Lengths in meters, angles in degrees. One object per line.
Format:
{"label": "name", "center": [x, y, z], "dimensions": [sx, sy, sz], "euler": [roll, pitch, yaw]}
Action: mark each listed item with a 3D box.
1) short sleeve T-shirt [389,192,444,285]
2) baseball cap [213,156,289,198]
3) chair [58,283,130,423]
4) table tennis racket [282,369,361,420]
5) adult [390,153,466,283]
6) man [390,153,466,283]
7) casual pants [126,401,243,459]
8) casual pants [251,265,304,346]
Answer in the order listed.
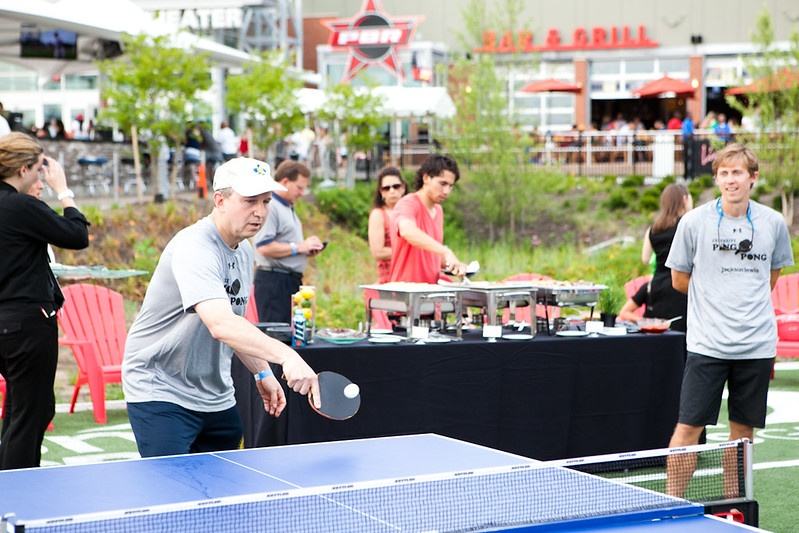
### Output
{"label": "short sleeve T-shirt", "center": [0.165, -0.247, 10.743], "dimensions": [0.448, 0.956, 0.618], "euler": [-4, -20, 30]}
{"label": "baseball cap", "center": [-1.157, -0.659, 7.921], "dimensions": [0.268, 0.176, 0.413], "euler": [-7, 10, -41]}
{"label": "chair", "center": [-3.283, 0.964, 12.192], "dimensions": [0.970, 1.457, 1.025], "euler": [-2, 4, -41]}
{"label": "table tennis racket", "center": [-0.491, 1.001, 8.030], "dimensions": [0.479, 0.146, 0.470], "euler": [-19, -1, -36]}
{"label": "adult", "center": [0.252, -0.443, 10.522], "dimensions": [0.708, 1.274, 0.889], "euler": [0, 6, -1]}
{"label": "man", "center": [0.250, -0.443, 10.521], "dimensions": [0.691, 1.274, 0.914], "euler": [-1, 6, -3]}
{"label": "casual pants", "center": [-1.551, 1.299, 8.335], "dimensions": [0.777, 0.601, 0.446], "euler": [1, 3, -24]}
{"label": "casual pants", "center": [-1.382, 0.483, 12.106], "dimensions": [0.525, 0.940, 0.474], "euler": [0, 9, -28]}
